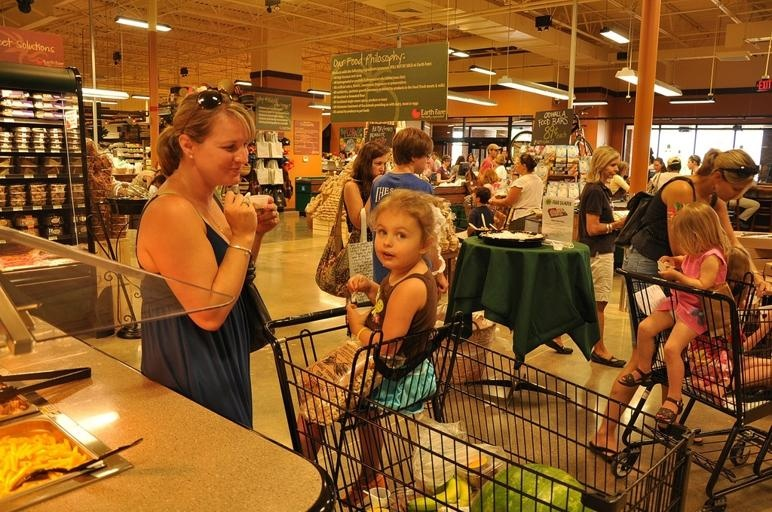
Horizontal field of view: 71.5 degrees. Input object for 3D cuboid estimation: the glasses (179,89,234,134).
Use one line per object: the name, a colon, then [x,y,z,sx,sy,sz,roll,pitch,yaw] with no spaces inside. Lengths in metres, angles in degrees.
glasses: [-0.645,-0.489,1.863,0.170,0.058,0.138,-44,-2,23]

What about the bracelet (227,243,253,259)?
bracelet: [-0.517,-0.023,1.855,0.058,0.016,0.048,17,2,15]

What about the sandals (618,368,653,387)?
sandals: [1.520,0.730,3.201,0.237,0.086,0.086,-2,-2,-21]

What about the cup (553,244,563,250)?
cup: [1.269,-0.064,3.876,0.049,0.036,0.053,0,-3,0]

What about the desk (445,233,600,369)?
desk: [1.035,0.249,3.964,0.952,0.700,0.967,2,3,0]

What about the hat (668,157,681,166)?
hat: [5.988,-1.927,10.900,0.327,0.139,0.466,0,12,17]
